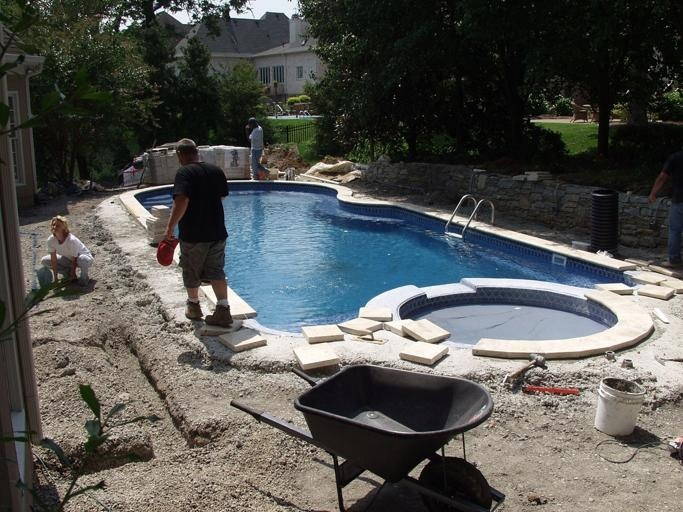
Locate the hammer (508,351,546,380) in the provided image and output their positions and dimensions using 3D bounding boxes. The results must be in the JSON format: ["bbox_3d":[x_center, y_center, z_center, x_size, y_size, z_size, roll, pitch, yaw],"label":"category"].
[{"bbox_3d":[2.180,1.308,6.196,0.613,0.143,0.220,-20,28,-39],"label":"hammer"}]

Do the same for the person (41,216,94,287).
[{"bbox_3d":[-4.719,-0.097,9.199,0.855,1.108,0.728,1,7,9],"label":"person"}]

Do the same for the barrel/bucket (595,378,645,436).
[{"bbox_3d":[2.779,1.505,5.294,0.393,0.517,0.410,-3,12,1],"label":"barrel/bucket"}]

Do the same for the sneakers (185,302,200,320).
[{"bbox_3d":[-2.091,0.773,7.518,0.142,0.224,0.320,-3,19,-16],"label":"sneakers"}]

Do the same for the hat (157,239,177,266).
[{"bbox_3d":[-2.357,-0.016,7.216,0.244,0.399,0.309,2,10,-9],"label":"hat"}]

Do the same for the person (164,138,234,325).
[{"bbox_3d":[-1.907,-0.296,7.207,0.822,2.537,0.640,-6,13,-12],"label":"person"}]
